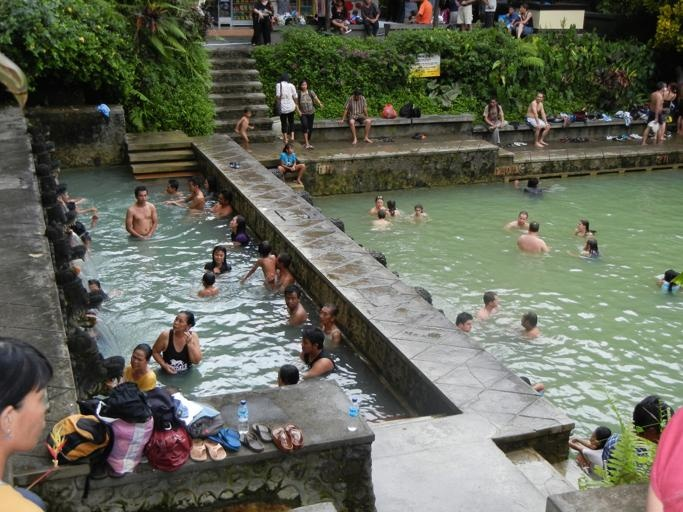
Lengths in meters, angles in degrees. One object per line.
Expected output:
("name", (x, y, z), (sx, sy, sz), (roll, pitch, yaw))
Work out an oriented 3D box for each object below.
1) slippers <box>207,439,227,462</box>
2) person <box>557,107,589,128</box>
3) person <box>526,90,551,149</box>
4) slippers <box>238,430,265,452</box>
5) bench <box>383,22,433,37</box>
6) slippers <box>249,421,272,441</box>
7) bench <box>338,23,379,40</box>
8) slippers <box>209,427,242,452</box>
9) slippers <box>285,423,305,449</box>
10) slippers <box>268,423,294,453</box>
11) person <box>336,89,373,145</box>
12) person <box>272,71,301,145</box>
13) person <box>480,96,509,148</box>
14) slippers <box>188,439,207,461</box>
("slippers", (-0.974, 1.499, 4.766), (0.138, 0.098, 0.154), (-8, 18, -16))
("person", (7.974, -4.818, 21.228), (0.875, 0.412, 1.049), (2, 16, 9))
("person", (6.433, -4.516, 20.160), (0.777, 1.620, 1.285), (4, 19, 18))
("slippers", (-0.710, 1.459, 4.837), (0.092, 0.064, 0.211), (-21, 41, -34))
("bench", (2.231, -8.128, 21.829), (1.783, 0.543, 3.238), (-1, 17, 4))
("slippers", (-0.632, 1.402, 4.900), (0.083, 0.052, 0.179), (-18, 37, -27))
("bench", (0.557, -8.121, 21.873), (1.437, 0.521, 1.080), (-3, 18, -4))
("slippers", (-0.893, 1.425, 4.824), (0.216, 0.066, 0.161), (22, 36, 25))
("slippers", (-0.362, 1.398, 4.844), (0.109, 0.064, 0.185), (-10, 54, -28))
("slippers", (-0.470, 1.433, 4.823), (0.120, 0.075, 0.212), (-10, 38, -16))
("person", (0.529, -4.270, 18.543), (1.000, 1.533, 0.862), (-11, 20, -25))
("person", (-1.533, -4.196, 17.382), (0.612, 1.892, 0.755), (-3, 18, -1))
("person", (5.027, -4.456, 20.158), (0.687, 1.431, 1.199), (5, 19, 21))
("slippers", (-1.098, 1.491, 4.719), (0.128, 0.122, 0.123), (-7, 18, -14))
